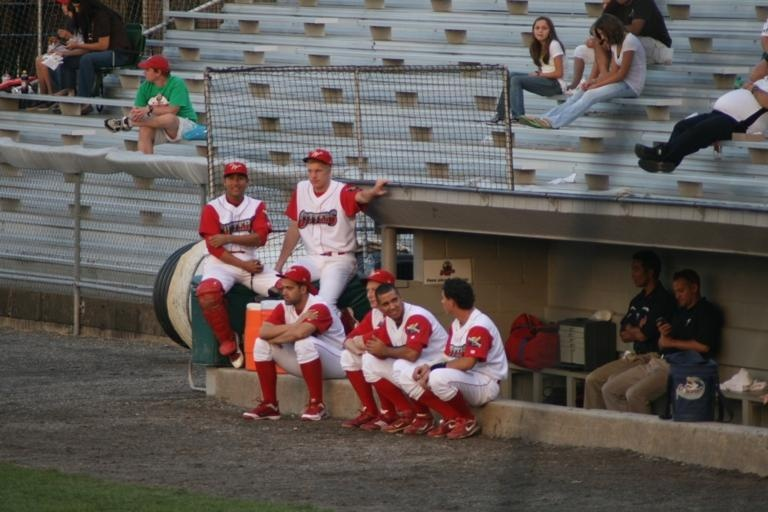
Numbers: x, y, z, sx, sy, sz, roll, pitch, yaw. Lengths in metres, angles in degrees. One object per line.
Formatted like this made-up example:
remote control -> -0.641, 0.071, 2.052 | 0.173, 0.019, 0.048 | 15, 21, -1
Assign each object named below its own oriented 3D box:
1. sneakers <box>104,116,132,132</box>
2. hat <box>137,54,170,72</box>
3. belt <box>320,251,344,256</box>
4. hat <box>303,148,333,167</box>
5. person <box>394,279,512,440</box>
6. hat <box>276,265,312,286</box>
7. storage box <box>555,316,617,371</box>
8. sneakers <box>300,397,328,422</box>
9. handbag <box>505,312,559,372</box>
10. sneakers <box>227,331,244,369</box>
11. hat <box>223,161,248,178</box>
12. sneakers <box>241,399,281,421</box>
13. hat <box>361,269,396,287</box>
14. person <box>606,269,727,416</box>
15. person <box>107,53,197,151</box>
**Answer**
sneakers -> -3.836, -1.889, 27.027 | 0.531, 0.190, 0.241 | -1, 2, 6
hat -> -3.268, -2.672, 26.415 | 0.482, 0.242, 0.299 | 1, 18, -7
belt -> -0.607, -0.044, 21.962 | 0.254, 0.046, 0.027 | 0, 8, 1
hat -> -0.776, -1.149, 21.958 | 0.287, 0.187, 0.267 | -3, 8, -17
person -> 0.810, 1.111, 20.722 | 1.053, 1.695, 0.384 | 0, 8, 2
hat -> -1.012, 0.210, 21.445 | 0.303, 0.150, 0.206 | 6, 5, -18
storage box -> 2.483, 1.065, 23.325 | 0.608, 0.633, 0.667 | -2, 1, -25
sneakers -> -0.792, 1.749, 21.476 | 0.157, 0.165, 0.340 | -4, -7, 19
handbag -> 1.826, 1.058, 23.248 | 0.670, 0.668, 0.287 | -24, -37, 26
sneakers -> -1.763, 1.097, 22.291 | 0.158, 0.417, 0.167 | -1, 10, 7
hat -> -1.772, -1.026, 22.328 | 0.240, 0.136, 0.323 | 1, 3, -3
sneakers -> -1.418, 1.764, 21.549 | 0.466, 0.215, 0.178 | 3, -3, -16
hat -> -0.046, 0.230, 21.021 | 0.314, 0.157, 0.333 | 0, 8, -3
person -> 3.238, 1.181, 21.959 | 1.334, 2.003, 1.041 | -3, 8, -20
person -> -3.212, -1.955, 26.608 | 1.366, 1.650, 0.824 | -6, 8, -40
